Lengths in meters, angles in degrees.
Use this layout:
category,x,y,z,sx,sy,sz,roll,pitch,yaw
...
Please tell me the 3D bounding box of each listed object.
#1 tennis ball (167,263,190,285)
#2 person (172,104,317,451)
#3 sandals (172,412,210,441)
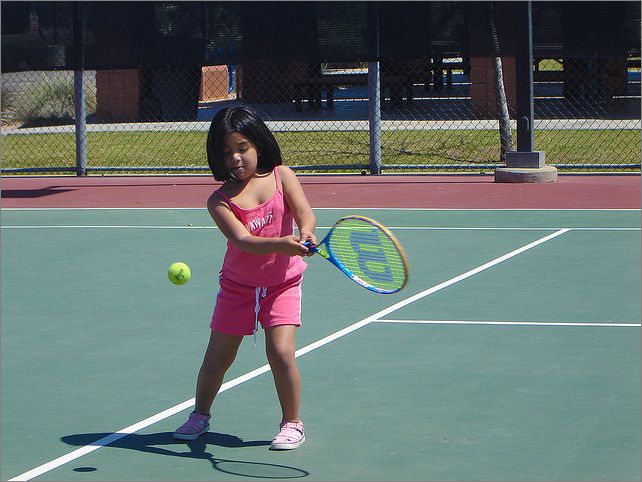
category,x,y,z,sx,sy,sz,roll,pitch,yaw
tennis ball,-1.114,0.257,6.560,0.197,0.156,0.191,-1,0,0
person,-0.380,0.162,4.308,0.728,1.660,0.788,-3,16,-1
sandals,-0.654,0.956,4.367,0.097,0.087,0.229,3,1,29
